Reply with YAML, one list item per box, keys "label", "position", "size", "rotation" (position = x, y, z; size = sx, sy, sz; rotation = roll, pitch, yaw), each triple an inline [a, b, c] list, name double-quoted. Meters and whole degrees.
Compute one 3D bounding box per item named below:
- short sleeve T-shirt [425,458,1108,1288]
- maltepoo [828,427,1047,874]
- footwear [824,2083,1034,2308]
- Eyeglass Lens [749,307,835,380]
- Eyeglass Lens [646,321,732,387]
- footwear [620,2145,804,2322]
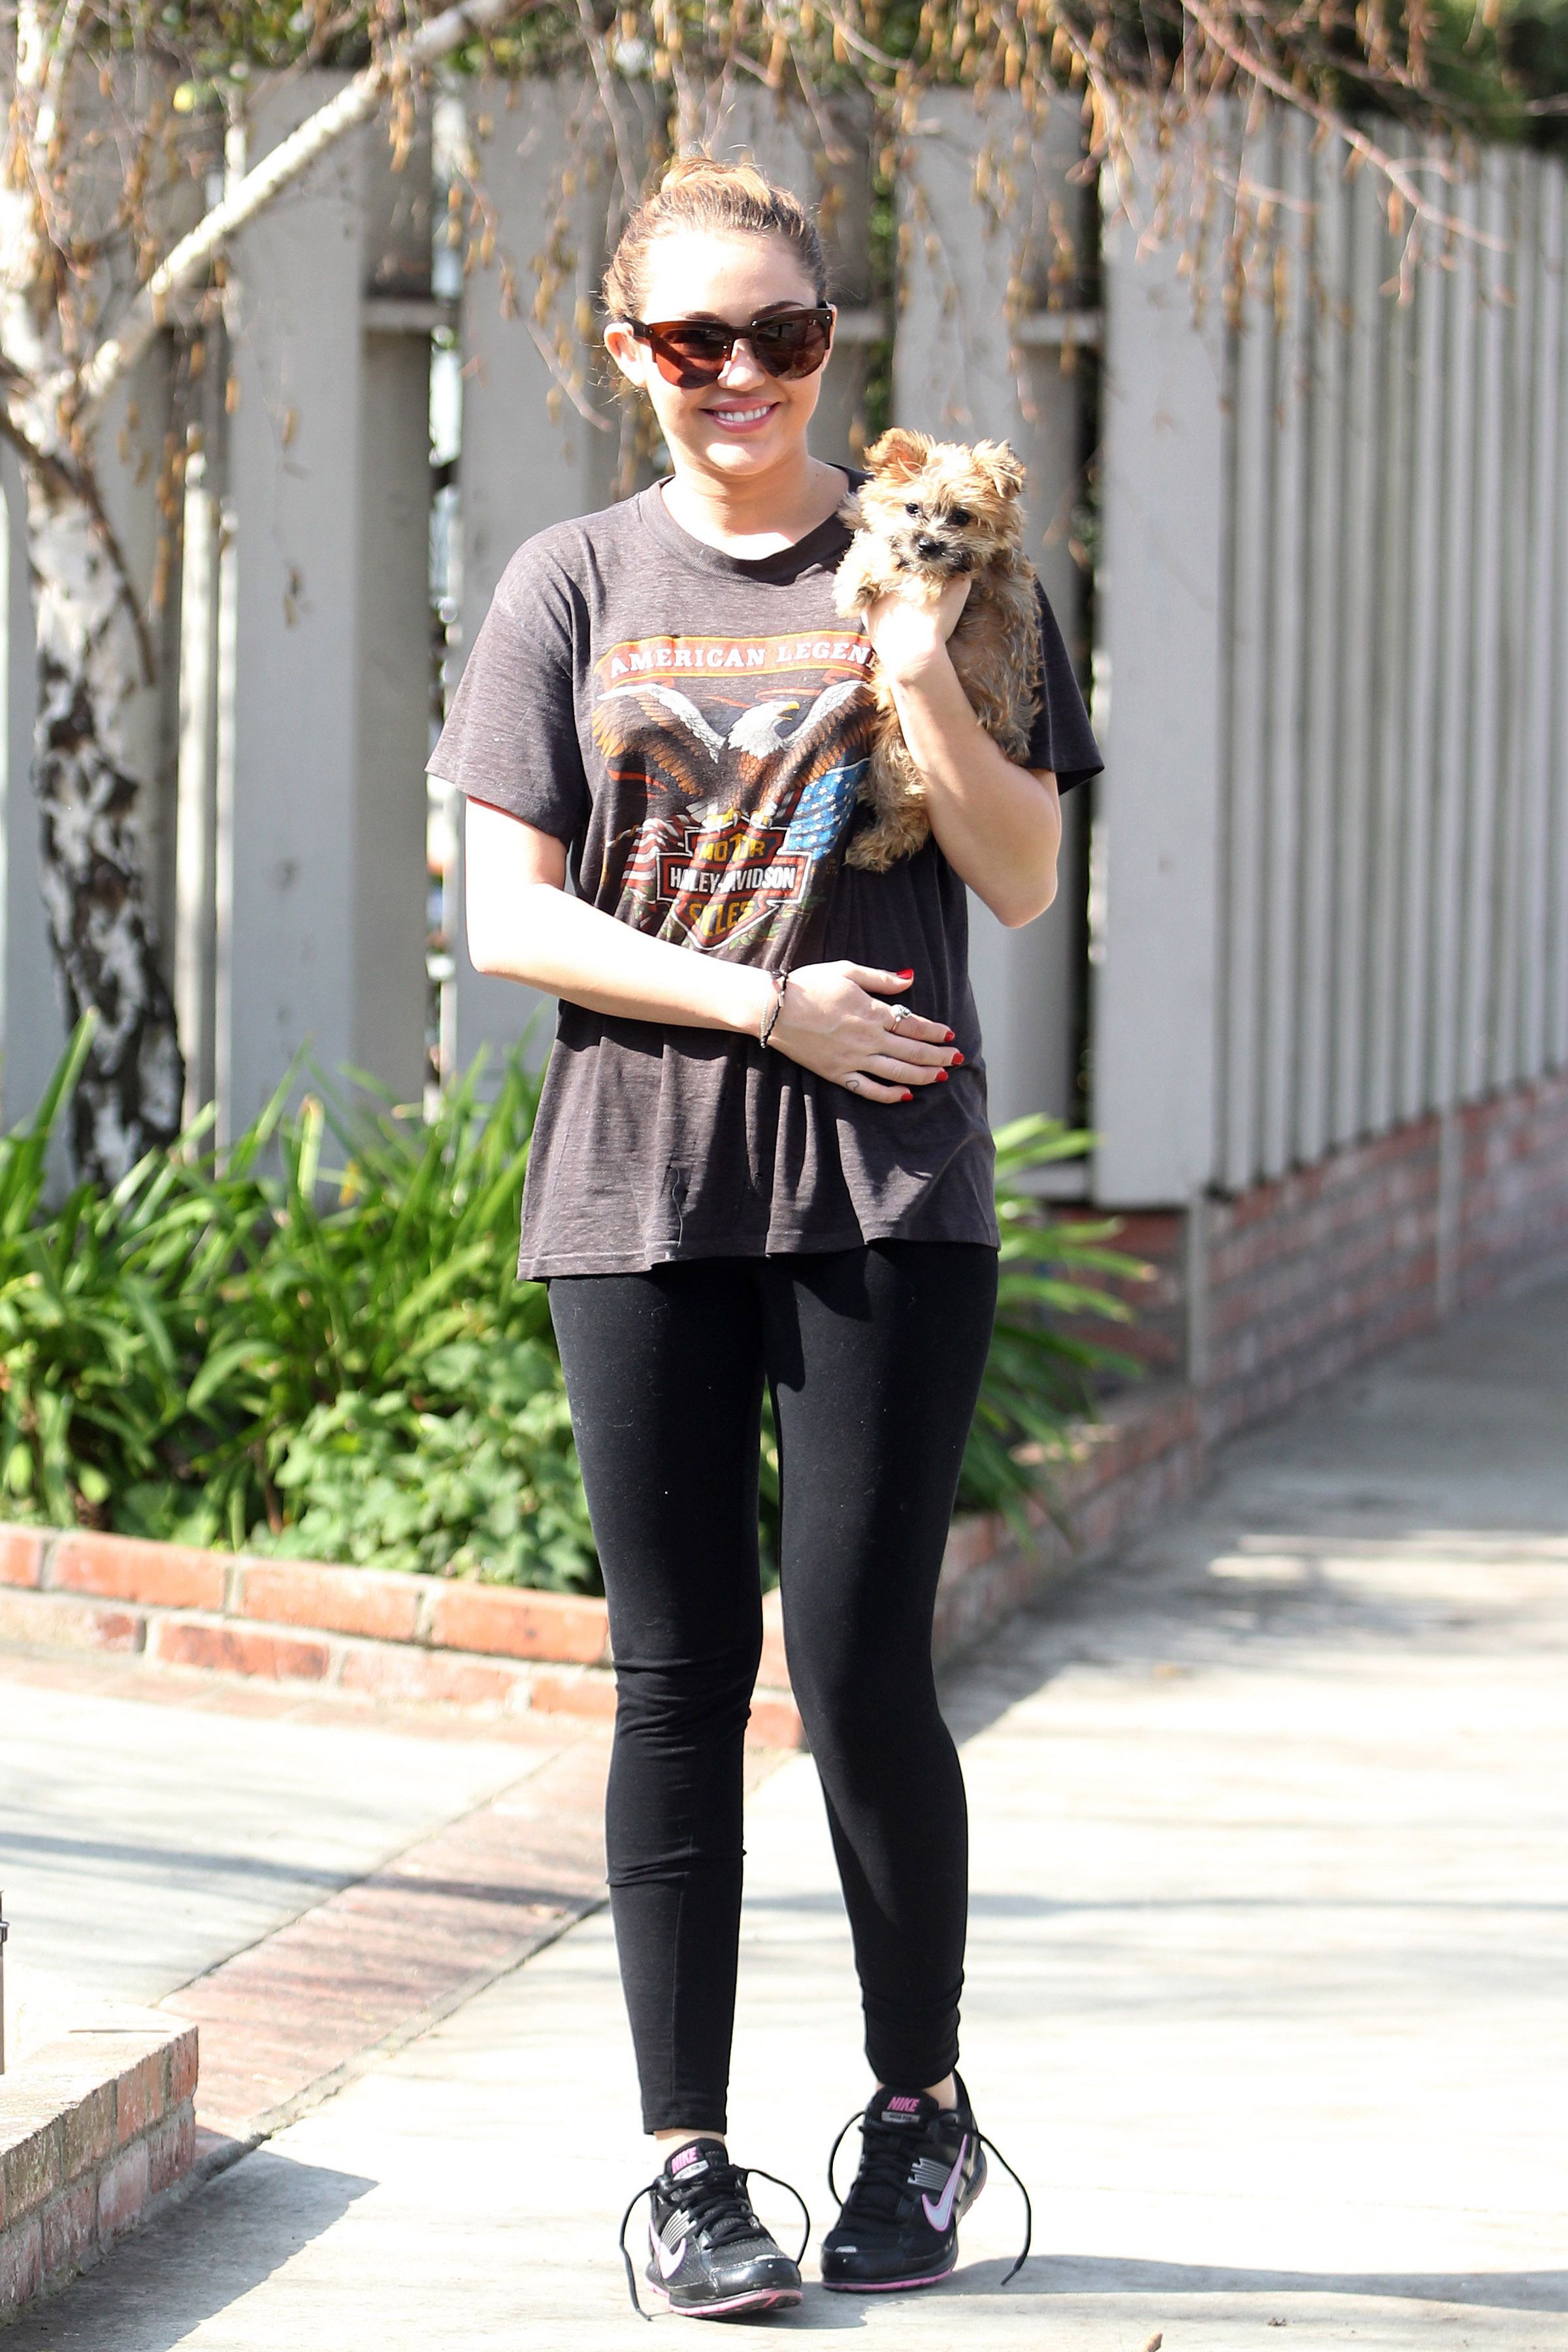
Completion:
- label: "short sleeve T-shirt"
  position: [-0.063, -0.270, 3.374]
  size: [0.518, 0.732, 0.224]
  rotation: [0, 2, 2]
- label: "maltepoo"
  position: [0.140, -0.465, 3.331]
  size: [0.210, 0.380, 0.166]
  rotation: [-1, -2, 6]
- label: "footwear"
  position: [0.122, 0.945, 3.453]
  size: [0.179, 0.162, 0.314]
  rotation: [-6, 2, 23]
- label: "Eyeglass Lens"
  position: [0.010, -0.759, 3.334]
  size: [0.067, 0.076, 0.032]
  rotation: [0, -41, -2]
- label: "Eyeglass Lens"
  position: [-0.084, -0.745, 3.331]
  size: [0.091, 0.062, 0.023]
  rotation: [1, 2, 28]
- label: "footwear"
  position: [-0.050, 0.979, 3.377]
  size: [0.093, 0.085, 0.177]
  rotation: [3, -8, -11]
